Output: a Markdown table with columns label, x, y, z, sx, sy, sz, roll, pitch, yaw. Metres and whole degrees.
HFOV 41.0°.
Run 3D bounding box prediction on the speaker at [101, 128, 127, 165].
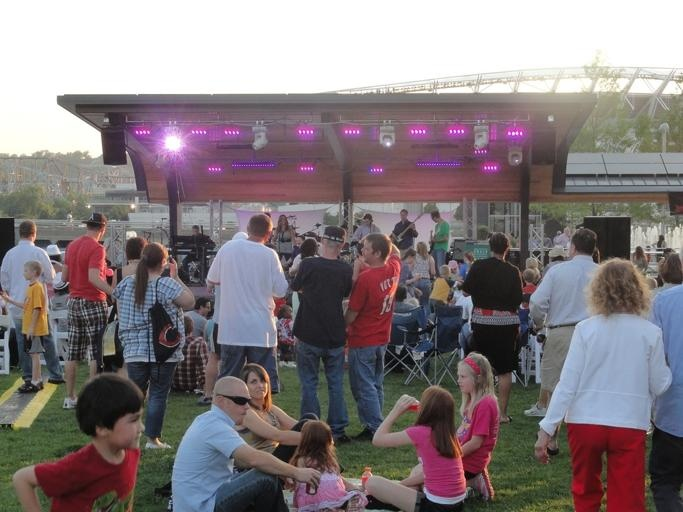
| label | x | y | z | sx | sy | sz | roll | pitch | yaw |
| --- | --- | --- | --- | --- | --- | --- | --- | --- | --- |
| speaker | -4.748 | -2.236 | 19.055 | 0.479 | 0.742 | 0.765 | 0 | 0 | -13 |

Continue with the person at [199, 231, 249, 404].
| label | x | y | z | sx | sy | sz | roll | pitch | yaw |
| --- | --- | --- | --- | --- | --- | --- | --- | --- | --- |
| person | -1.449 | 0.802 | 11.072 | 0.459 | 2.043 | 0.535 | 15 | -17 | -21 |

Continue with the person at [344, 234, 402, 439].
| label | x | y | z | sx | sy | sz | roll | pitch | yaw |
| --- | --- | --- | --- | --- | --- | --- | --- | --- | --- |
| person | 0.305 | 0.943 | 10.581 | 0.501 | 2.356 | 0.808 | 1 | -2 | 10 |

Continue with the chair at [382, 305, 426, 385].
| label | x | y | z | sx | sy | sz | roll | pitch | yaw |
| --- | --- | --- | --- | --- | --- | --- | --- | --- | --- |
| chair | 0.888 | 1.234 | 13.211 | 0.772 | 1.234 | 0.841 | 1 | 2 | -2 |

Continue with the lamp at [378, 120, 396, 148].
| label | x | y | z | sx | sy | sz | roll | pitch | yaw |
| --- | --- | --- | --- | --- | --- | --- | --- | --- | --- |
| lamp | 0.970 | -2.617 | 19.592 | 0.304 | 0.485 | 0.257 | 0 | 0 | -13 |

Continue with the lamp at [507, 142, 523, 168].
| label | x | y | z | sx | sy | sz | roll | pitch | yaw |
| --- | --- | --- | --- | --- | --- | --- | --- | --- | --- |
| lamp | 4.019 | -2.370 | 21.204 | 0.292 | 0.437 | 0.474 | 0 | 0 | 10 |

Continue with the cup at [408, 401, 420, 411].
| label | x | y | z | sx | sy | sz | roll | pitch | yaw |
| --- | --- | --- | --- | --- | --- | --- | --- | --- | --- |
| cup | 0.687 | 1.419 | 8.626 | 0.099 | 0.085 | 0.106 | -1 | -2 | 0 |

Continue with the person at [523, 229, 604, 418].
| label | x | y | z | sx | sy | sz | roll | pitch | yaw |
| --- | --- | --- | --- | --- | --- | --- | --- | --- | --- |
| person | 2.524 | 0.785 | 10.461 | 0.794 | 2.515 | 0.701 | 2 | 19 | 0 |

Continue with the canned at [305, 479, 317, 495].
| label | x | y | z | sx | sy | sz | roll | pitch | yaw |
| --- | --- | --- | --- | --- | --- | --- | --- | --- | --- |
| canned | -0.263 | 2.085 | 8.203 | 0.093 | 0.148 | 0.047 | 6 | -2 | -25 |

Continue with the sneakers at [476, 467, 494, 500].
| label | x | y | z | sx | sy | sz | roll | pitch | yaw |
| --- | --- | --- | --- | --- | --- | --- | --- | --- | --- |
| sneakers | 1.436 | 2.277 | 9.118 | 0.134 | 0.338 | 0.114 | -4 | -3 | -1 |

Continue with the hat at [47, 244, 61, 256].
| label | x | y | z | sx | sy | sz | roll | pitch | yaw |
| --- | --- | --- | --- | --- | --- | --- | --- | --- | --- |
| hat | -4.763 | -0.092 | 15.080 | 0.283 | 0.157 | 0.380 | -1 | 6 | -12 |

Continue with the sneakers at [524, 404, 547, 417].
| label | x | y | z | sx | sy | sz | roll | pitch | yaw |
| --- | --- | --- | --- | --- | --- | --- | --- | --- | --- |
| sneakers | 2.384 | 1.898 | 11.216 | 0.290 | 0.134 | 0.133 | 1 | 2 | 26 |

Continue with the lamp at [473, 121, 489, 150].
| label | x | y | z | sx | sy | sz | roll | pitch | yaw |
| --- | --- | --- | --- | --- | --- | --- | --- | --- | --- |
| lamp | 2.969 | -2.556 | 19.394 | 0.302 | 0.483 | 0.472 | 0 | 0 | 7 |

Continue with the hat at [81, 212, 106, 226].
| label | x | y | z | sx | sy | sz | roll | pitch | yaw |
| --- | --- | --- | --- | --- | --- | --- | --- | --- | --- |
| hat | -3.035 | -0.450 | 11.168 | 0.230 | 0.142 | 0.165 | 23 | 12 | 22 |

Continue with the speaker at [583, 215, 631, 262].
| label | x | y | z | sx | sy | sz | roll | pitch | yaw |
| --- | --- | --- | --- | --- | --- | --- | --- | --- | --- |
| speaker | 3.549 | -0.244 | 12.222 | 0.543 | 0.616 | 0.302 | 0 | -1 | 10 |

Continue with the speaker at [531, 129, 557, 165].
| label | x | y | z | sx | sy | sz | roll | pitch | yaw |
| --- | --- | --- | --- | --- | --- | --- | --- | --- | --- |
| speaker | 4.591 | -2.481 | 20.831 | 0.565 | 1.221 | 0.612 | 0 | 5 | 6 |

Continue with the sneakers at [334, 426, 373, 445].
| label | x | y | z | sx | sy | sz | roll | pitch | yaw |
| --- | --- | --- | --- | --- | --- | --- | --- | --- | --- |
| sneakers | 0.146 | 2.019 | 10.384 | 0.477 | 0.238 | 0.171 | 5 | -4 | -6 |
